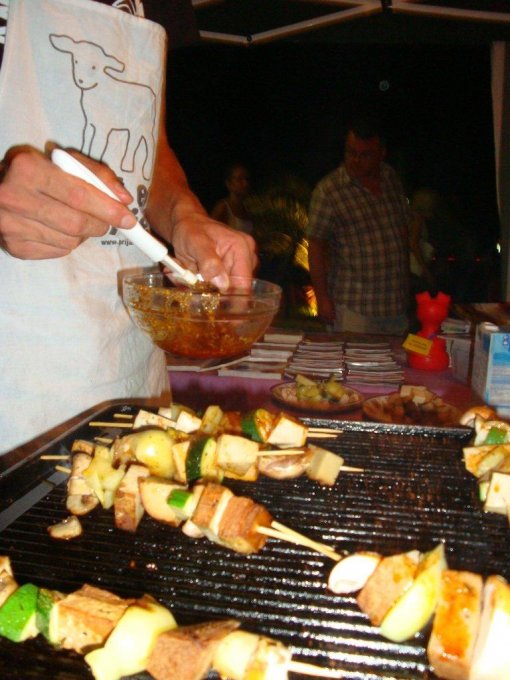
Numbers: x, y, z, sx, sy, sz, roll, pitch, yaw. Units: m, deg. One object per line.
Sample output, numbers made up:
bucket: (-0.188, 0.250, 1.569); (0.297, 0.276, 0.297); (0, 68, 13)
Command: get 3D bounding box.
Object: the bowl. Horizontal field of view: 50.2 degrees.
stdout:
bowl: (-0.127, -0.055, 1.460); (0.422, 0.180, 0.403); (2, 12, 0)
